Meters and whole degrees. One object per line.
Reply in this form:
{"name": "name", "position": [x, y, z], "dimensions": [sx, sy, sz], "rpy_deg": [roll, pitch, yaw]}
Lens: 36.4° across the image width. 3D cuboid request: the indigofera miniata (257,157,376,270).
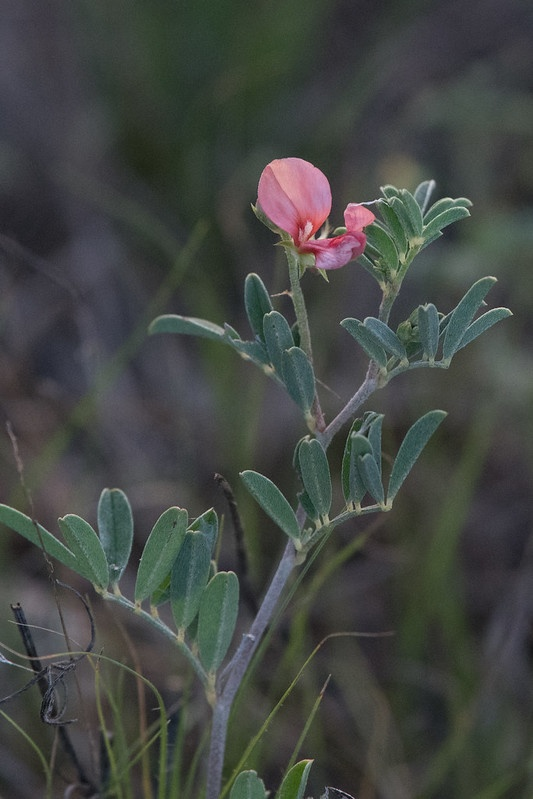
{"name": "indigofera miniata", "position": [0.029, -0.120, 0.606], "dimensions": [0.038, 0.093, 0.062], "rpy_deg": [-10, 24, 50]}
